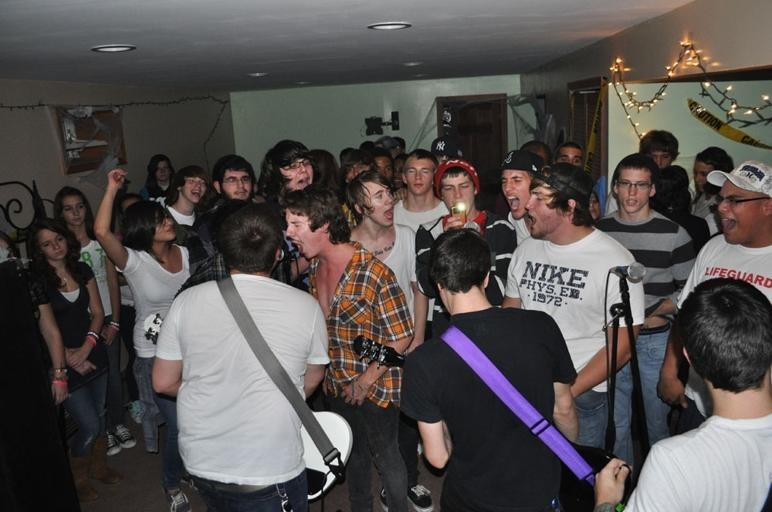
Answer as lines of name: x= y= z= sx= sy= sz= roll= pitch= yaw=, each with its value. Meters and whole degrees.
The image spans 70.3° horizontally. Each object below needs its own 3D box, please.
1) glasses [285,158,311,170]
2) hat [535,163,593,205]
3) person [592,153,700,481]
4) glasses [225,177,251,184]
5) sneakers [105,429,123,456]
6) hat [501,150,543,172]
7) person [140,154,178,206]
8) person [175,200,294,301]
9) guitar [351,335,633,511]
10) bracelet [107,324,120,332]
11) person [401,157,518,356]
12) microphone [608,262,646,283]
glasses: x=-0.742 y=-0.786 z=4.645 sx=0.083 sy=0.096 sz=0.248 roll=4 pitch=9 yaw=41
hat: x=1.192 y=-0.518 z=3.663 sx=0.406 sy=0.224 sz=0.293 roll=9 pitch=23 yaw=-17
person: x=1.966 y=0.619 z=4.331 sx=0.890 sy=2.836 sz=0.878 roll=0 pitch=1 yaw=29
glasses: x=-1.329 y=-0.702 z=4.946 sx=0.126 sy=0.035 sz=0.099 roll=5 pitch=-20 yaw=8
sneakers: x=-2.586 y=1.777 z=5.205 sx=0.112 sy=0.131 sz=0.327 roll=-5 pitch=3 yaw=-32
hat: x=1.107 y=-0.762 z=4.404 sx=0.249 sy=0.084 sz=0.183 roll=7 pitch=5 yaw=-7
person: x=-3.148 y=-1.059 z=7.783 sx=0.472 sy=0.715 sz=0.507 roll=-12 pitch=-14 yaw=24
person: x=-0.983 y=-0.026 z=3.593 sx=0.739 sy=0.503 sz=0.943 roll=0 pitch=30 yaw=-2
guitar: x=0.591 y=0.913 z=3.067 sx=1.376 sy=0.551 sz=0.228 roll=41 pitch=14 yaw=2
bracelet: x=-2.581 y=0.680 z=5.182 sx=0.073 sy=0.021 sz=0.071 roll=26 pitch=-3 yaw=20
person: x=0.714 y=0.323 z=4.743 sx=0.841 sy=2.459 sz=0.666 roll=-5 pitch=32 yaw=10
microphone: x=1.491 y=0.096 z=3.354 sx=0.118 sy=0.102 sz=0.185 roll=-2 pitch=6 yaw=-19
